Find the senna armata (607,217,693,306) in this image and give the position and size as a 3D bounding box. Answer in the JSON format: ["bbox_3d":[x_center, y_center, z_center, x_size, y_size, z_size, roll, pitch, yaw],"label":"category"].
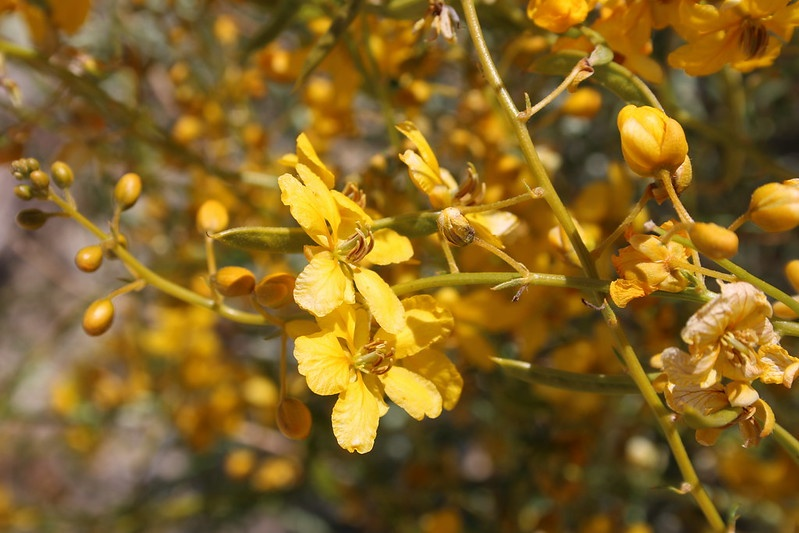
[{"bbox_3d":[0.556,-0.011,1.931,0.205,0.125,0.156,-12,83,-2],"label":"senna armata"}]

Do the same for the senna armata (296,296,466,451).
[{"bbox_3d":[-0.070,0.223,2.022,0.357,0.373,0.123,25,91,-38],"label":"senna armata"}]

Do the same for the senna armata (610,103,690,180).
[{"bbox_3d":[0.557,-0.274,2.009,0.165,0.122,0.142,19,75,-17],"label":"senna armata"}]

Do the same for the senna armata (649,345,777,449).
[{"bbox_3d":[0.731,0.256,1.928,0.277,0.215,0.105,-31,41,10],"label":"senna armata"}]
